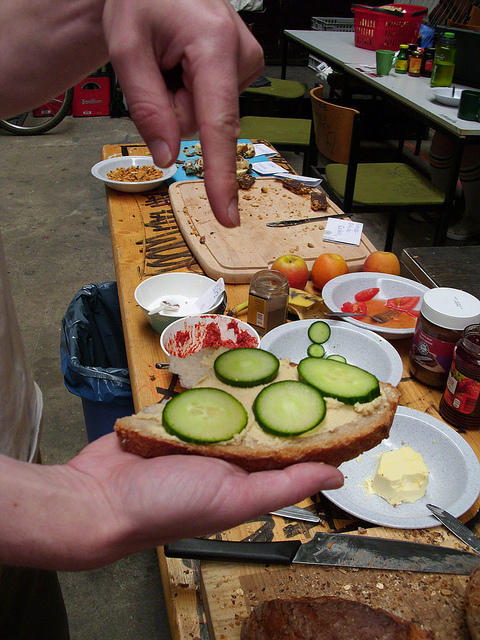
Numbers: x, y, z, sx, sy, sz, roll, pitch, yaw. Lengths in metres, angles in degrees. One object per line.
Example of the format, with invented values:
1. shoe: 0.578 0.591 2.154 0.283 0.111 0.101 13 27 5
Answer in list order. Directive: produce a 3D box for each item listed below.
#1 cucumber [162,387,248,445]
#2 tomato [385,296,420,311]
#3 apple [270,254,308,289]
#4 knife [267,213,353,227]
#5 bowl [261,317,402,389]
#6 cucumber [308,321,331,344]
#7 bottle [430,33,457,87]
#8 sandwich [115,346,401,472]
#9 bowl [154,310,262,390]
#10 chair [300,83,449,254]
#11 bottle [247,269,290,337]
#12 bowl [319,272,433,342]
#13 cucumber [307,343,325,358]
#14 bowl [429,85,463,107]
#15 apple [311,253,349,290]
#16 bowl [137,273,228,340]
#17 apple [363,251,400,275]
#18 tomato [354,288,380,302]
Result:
1. cucumber: -0.057 0.156 0.795 0.132 0.037 0.113 -4 34 -10
2. tomato: 0.462 -0.048 1.417 0.082 0.030 0.063 17 36 21
3. apple: 0.154 -0.151 1.585 0.109 0.101 0.103 -3 31 -2
4. knife: 0.265 -0.386 1.931 0.423 0.017 0.056 -5 36 -24
5. bowl: 0.203 0.047 1.229 0.288 0.294 0.066 -22 61 23
6. cucumber: 0.204 0.034 1.288 0.055 0.040 0.049 -15 38 -24
7. bottle: 1.282 -1.605 3.110 0.139 0.279 0.189 14 37 16
8. sandwich: 0.047 0.163 0.824 0.371 0.060 0.220 5 30 -2
9. bowl: -0.098 0.025 1.196 0.218 0.086 0.207 3 39 -3
10. chair: 0.802 -0.830 3.334 0.772 1.123 0.719 -5 38 -17
11. bottle: 0.080 -0.034 1.375 0.083 0.139 0.086 0 19 0
12. bowl: 0.391 -0.057 1.377 0.239 0.061 0.228 0 35 0
13. cucumber: 0.193 0.078 1.256 0.043 0.025 0.057 8 34 9
14. bowl: 1.228 -1.345 2.969 0.164 0.100 0.438 13 35 16
15. apple: 0.272 -0.153 1.609 0.121 0.113 0.114 -7 33 -16
16. bowl: -0.173 -0.049 1.492 0.237 0.107 0.202 -6 41 -21
17. apple: 0.457 -0.191 1.606 0.090 0.079 0.081 1 12 -1
18. tomato: 0.375 -0.073 1.464 0.064 0.012 0.032 -13 45 -8
